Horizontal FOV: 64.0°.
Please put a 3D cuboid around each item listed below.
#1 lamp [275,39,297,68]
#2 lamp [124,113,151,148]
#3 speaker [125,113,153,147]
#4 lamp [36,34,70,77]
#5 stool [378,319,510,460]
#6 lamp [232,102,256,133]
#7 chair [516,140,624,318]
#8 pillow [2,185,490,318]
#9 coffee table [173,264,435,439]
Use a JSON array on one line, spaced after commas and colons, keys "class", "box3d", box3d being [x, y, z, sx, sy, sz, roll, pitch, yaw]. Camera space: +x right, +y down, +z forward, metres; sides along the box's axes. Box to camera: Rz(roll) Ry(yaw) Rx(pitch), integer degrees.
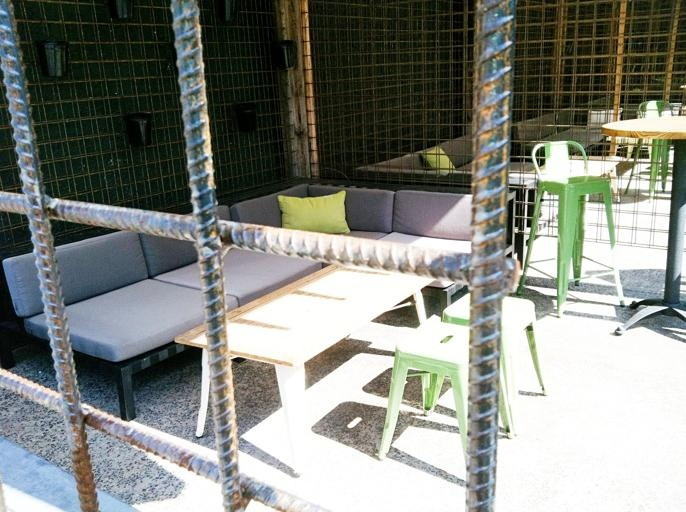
[{"class": "lamp", "box3d": [-0.514, -1.848, 5.055, 0.218, 0.257, 0.124, -6, 17, -16]}, {"class": "lamp", "box3d": [-1.541, -0.953, 4.171, 0.191, 0.248, 0.179, -8, 18, -24]}, {"class": "speaker", "box3d": [-1.519, -0.951, 4.155, 0.246, 0.262, 0.243, -12, 21, -40]}, {"class": "lamp", "box3d": [-1.879, -1.284, 3.583, 0.182, 0.216, 0.114, -8, 18, -25]}, {"class": "stool", "box3d": [0.440, 0.648, 2.666, 0.622, 0.581, 0.609, 11, 20, 37]}, {"class": "lamp", "box3d": [-0.866, -1.222, 4.891, 0.063, 0.238, 0.271, 2, 8, 40]}, {"class": "chair", "box3d": [1.735, -0.249, 4.161, 0.614, 1.180, 0.599, -5, 15, -8]}, {"class": "pillow", "box3d": [-0.084, -0.016, 0.519, 0.393, 0.100, 0.116, 11, 28, 26]}, {"class": "coffee table", "box3d": [-0.184, 0.515, 2.744, 0.911, 0.587, 1.526, 8, 16, 23]}]
